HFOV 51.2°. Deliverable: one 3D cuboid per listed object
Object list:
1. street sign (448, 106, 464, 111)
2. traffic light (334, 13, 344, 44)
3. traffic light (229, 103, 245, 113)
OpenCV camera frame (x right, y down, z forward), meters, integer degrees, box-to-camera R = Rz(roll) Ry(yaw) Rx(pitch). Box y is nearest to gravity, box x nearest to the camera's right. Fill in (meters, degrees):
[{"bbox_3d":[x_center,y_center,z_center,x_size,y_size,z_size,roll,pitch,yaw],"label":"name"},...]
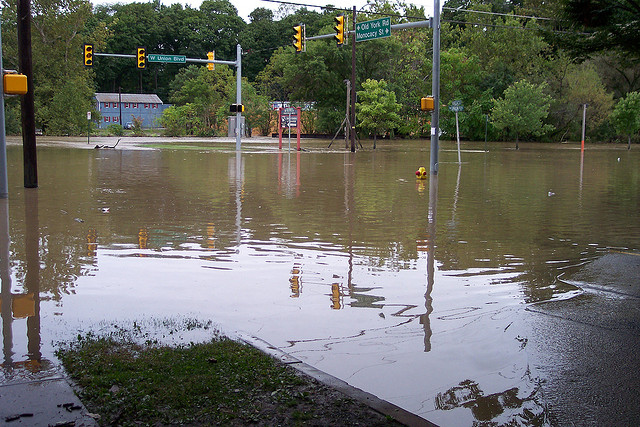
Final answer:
[{"bbox_3d":[6.821,-5.253,33.438,0.630,0.236,1.076,3,14,6],"label":"street sign"},{"bbox_3d":[0.950,-8.953,32.532,0.389,1.336,0.644,1,14,0],"label":"traffic light"},{"bbox_3d":[-4.163,-5.284,33.270,0.808,0.606,0.820,-1,4,0],"label":"traffic light"}]
